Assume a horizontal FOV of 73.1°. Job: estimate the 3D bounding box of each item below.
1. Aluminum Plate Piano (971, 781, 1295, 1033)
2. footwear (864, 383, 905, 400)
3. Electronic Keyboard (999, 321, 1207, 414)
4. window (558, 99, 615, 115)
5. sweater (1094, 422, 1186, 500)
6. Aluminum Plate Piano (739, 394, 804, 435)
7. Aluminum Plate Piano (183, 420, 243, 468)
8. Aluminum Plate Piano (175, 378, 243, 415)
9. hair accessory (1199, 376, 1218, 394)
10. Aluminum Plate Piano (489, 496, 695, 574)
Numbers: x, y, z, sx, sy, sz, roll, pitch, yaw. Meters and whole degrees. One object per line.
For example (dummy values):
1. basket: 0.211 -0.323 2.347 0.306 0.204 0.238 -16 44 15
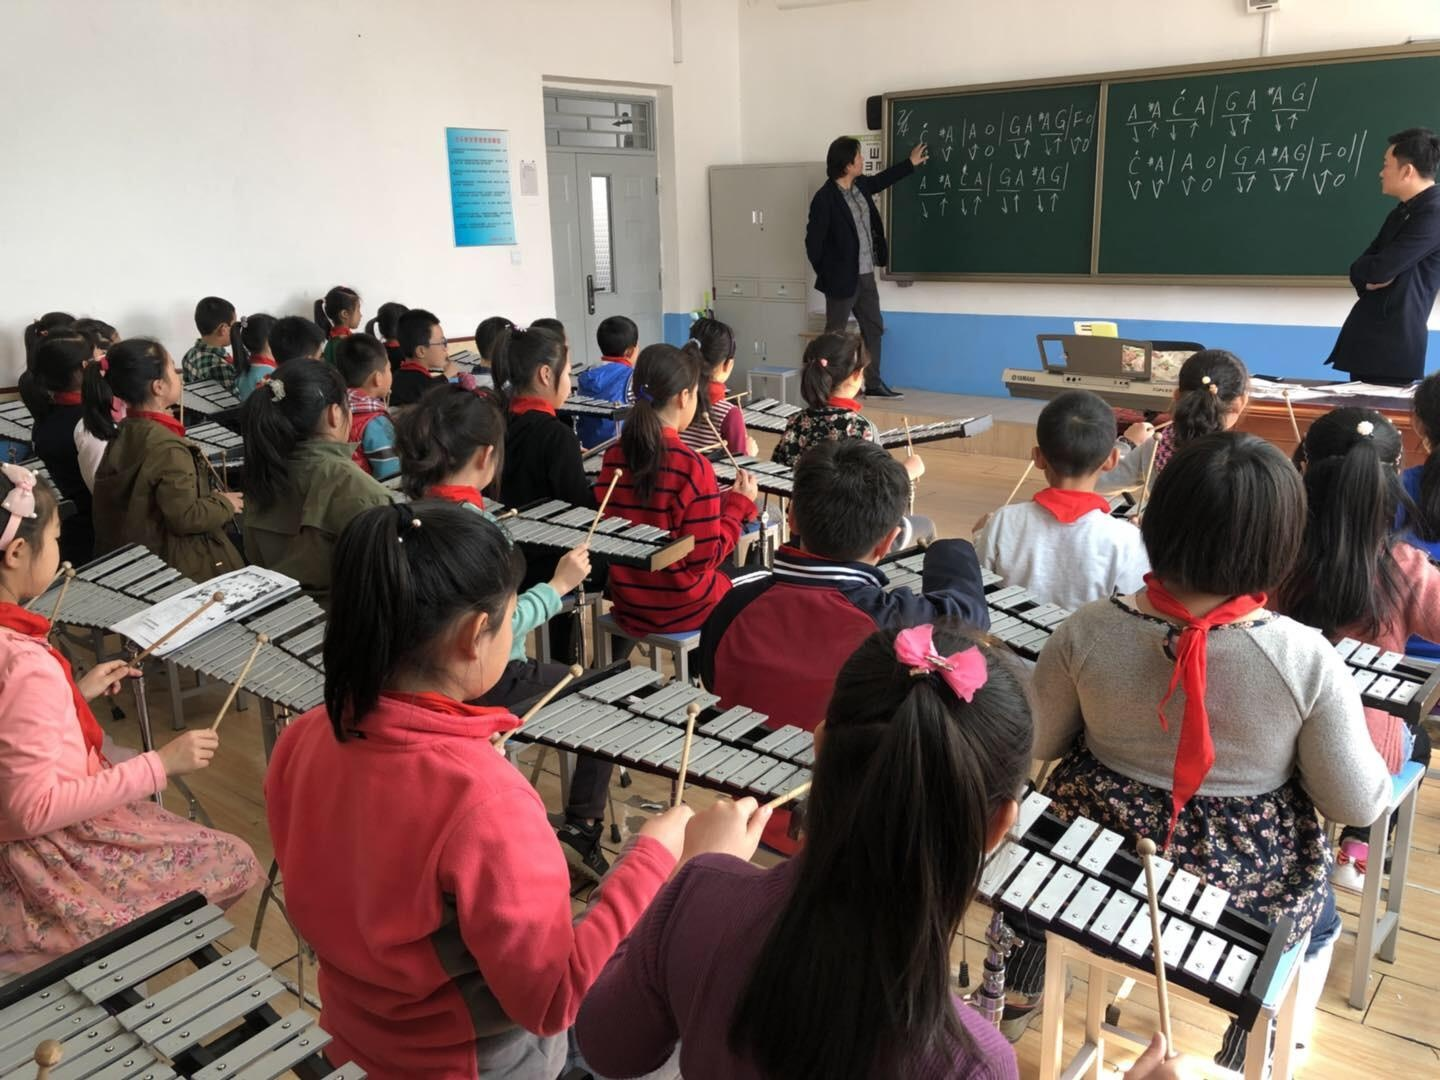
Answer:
1. Aluminum Plate Piano: 0.602 0.537 1.405 0.405 0.184 0.269 30 49 15
2. footwear: 1.255 -1.163 7.576 0.353 0.152 0.136 -2 10 -15
3. Electronic Keyboard: 1.779 -0.798 4.605 0.404 0.353 0.809 -17 25 -40
4. window: -1.068 -3.455 7.769 0.031 0.125 0.526 15 25 43
5. sweater: 1.584 -0.314 3.708 0.239 0.270 0.997 6 20 21
6. Aluminum Plate Piano: 0.236 -0.566 4.738 0.245 0.032 0.244 22 40 35
7. Aluminum Plate Piano: -2.079 -0.394 4.001 0.278 0.069 0.186 37 34 30
8. Aluminum Plate Piano: -2.562 -0.723 4.889 0.316 0.078 0.215 29 39 30
9. hair accessory: 1.552 -0.494 3.074 0.023 0.059 0.046 -31 -5 -29
10. Aluminum Plate Piano: -0.325 -0.020 2.667 0.434 0.097 0.340 20 22 40
